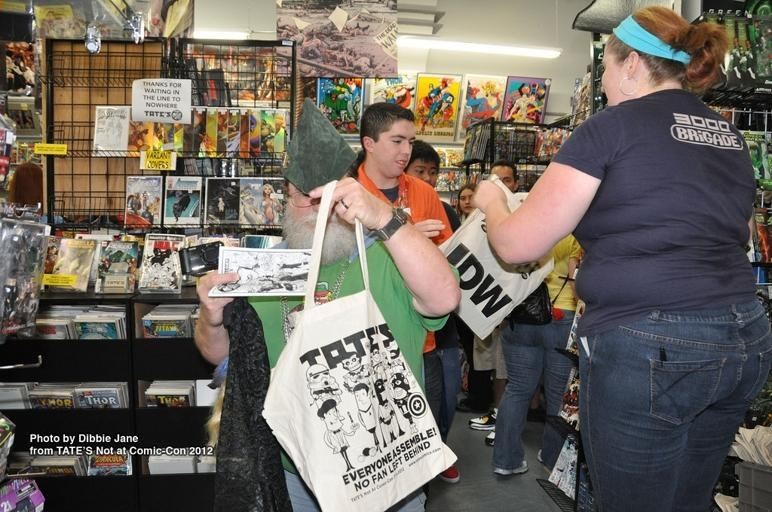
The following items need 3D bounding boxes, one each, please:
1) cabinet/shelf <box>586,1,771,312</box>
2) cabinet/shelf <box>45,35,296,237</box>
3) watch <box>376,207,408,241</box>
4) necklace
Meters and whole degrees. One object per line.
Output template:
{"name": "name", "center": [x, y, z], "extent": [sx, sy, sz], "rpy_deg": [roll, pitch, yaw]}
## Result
{"name": "cabinet/shelf", "center": [1.069, -0.368, 2.221], "extent": [0.738, 1.231, 0.339], "rpy_deg": [1, 5, 16]}
{"name": "cabinet/shelf", "center": [-1.555, -0.835, 3.942], "extent": [1.444, 1.316, 0.466], "rpy_deg": [0, 4, -7]}
{"name": "watch", "center": [0.016, -0.111, 1.986], "extent": [0.081, 0.048, 0.080], "rpy_deg": [-43, 3, 10]}
{"name": "necklace", "center": [-0.291, 0.152, 2.128], "extent": [0.170, 0.298, 0.076], "rpy_deg": [-1, -24, 20]}
